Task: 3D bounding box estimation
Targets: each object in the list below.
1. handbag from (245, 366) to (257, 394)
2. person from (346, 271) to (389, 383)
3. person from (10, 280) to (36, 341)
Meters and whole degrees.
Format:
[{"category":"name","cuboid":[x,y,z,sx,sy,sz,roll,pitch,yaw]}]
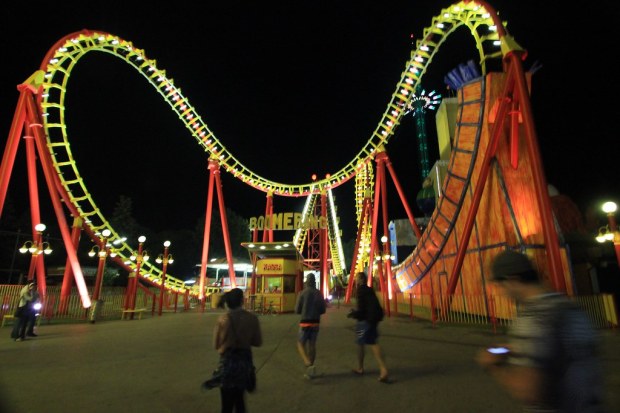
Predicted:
[{"category":"handbag","cuboid":[-1.285,3.734,9.364,0.179,0.558,0.245,-1,-11,2]},{"category":"person","cuboid":[1.608,3.194,11.761,0.946,2.817,1.495,-2,-11,9]},{"category":"person","cuboid":[-10.602,3.780,15.883,0.590,2.120,0.849,7,-13,-34]}]
